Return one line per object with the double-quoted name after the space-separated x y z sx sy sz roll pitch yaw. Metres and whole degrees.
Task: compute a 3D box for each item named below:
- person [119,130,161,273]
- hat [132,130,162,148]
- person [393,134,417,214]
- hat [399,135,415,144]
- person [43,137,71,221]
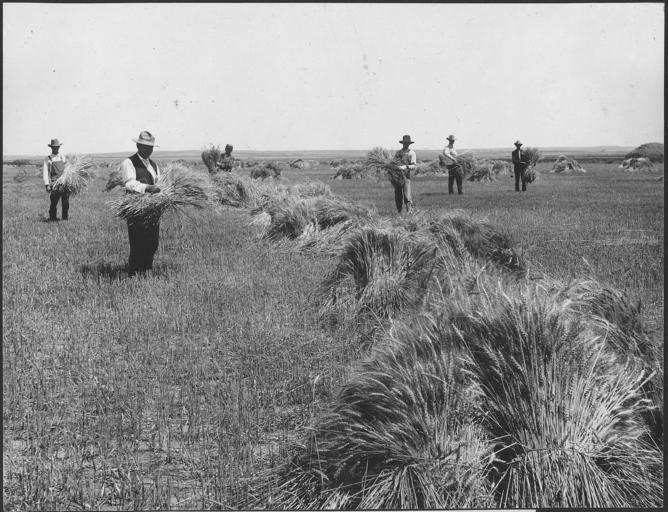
-2.160 -0.594 7.761 0.444 1.550 0.436 -2 4 -19 "person"
-2.016 -1.248 7.433 0.181 0.184 0.620 -3 6 -19 "hat"
0.831 -0.918 7.931 0.256 0.881 0.398 0 4 5 "person"
0.837 -1.301 7.809 0.112 0.094 0.102 1 5 18 "hat"
-3.083 -0.822 7.657 0.271 0.884 0.468 -3 5 -24 "person"
